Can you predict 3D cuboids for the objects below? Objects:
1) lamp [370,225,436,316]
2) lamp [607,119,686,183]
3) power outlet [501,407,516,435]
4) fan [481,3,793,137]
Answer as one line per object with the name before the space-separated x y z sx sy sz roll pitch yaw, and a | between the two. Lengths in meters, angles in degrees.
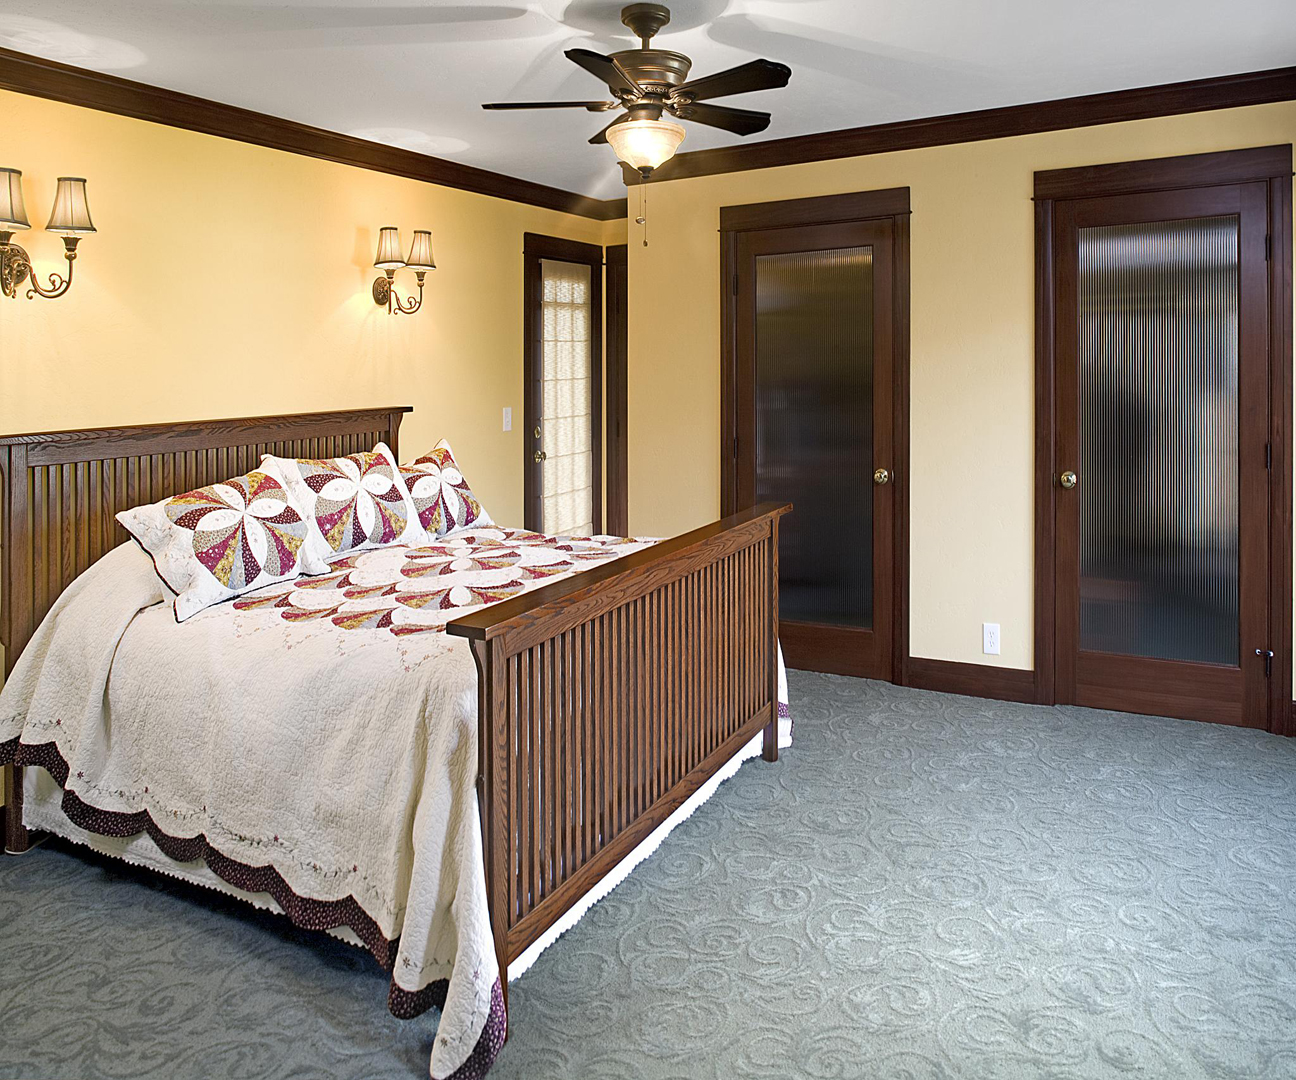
lamp | -1.193 -1.369 4.861 0.260 0.430 0.533 5 13 25
lamp | -0.012 -1.331 3.206 0.255 0.150 0.262 -1 -4 -7
power outlet | -0.840 -0.711 5.691 0.015 0.193 0.162 5 5 29
fan | 0.089 -1.445 3.011 0.628 0.261 0.631 -5 12 -28
